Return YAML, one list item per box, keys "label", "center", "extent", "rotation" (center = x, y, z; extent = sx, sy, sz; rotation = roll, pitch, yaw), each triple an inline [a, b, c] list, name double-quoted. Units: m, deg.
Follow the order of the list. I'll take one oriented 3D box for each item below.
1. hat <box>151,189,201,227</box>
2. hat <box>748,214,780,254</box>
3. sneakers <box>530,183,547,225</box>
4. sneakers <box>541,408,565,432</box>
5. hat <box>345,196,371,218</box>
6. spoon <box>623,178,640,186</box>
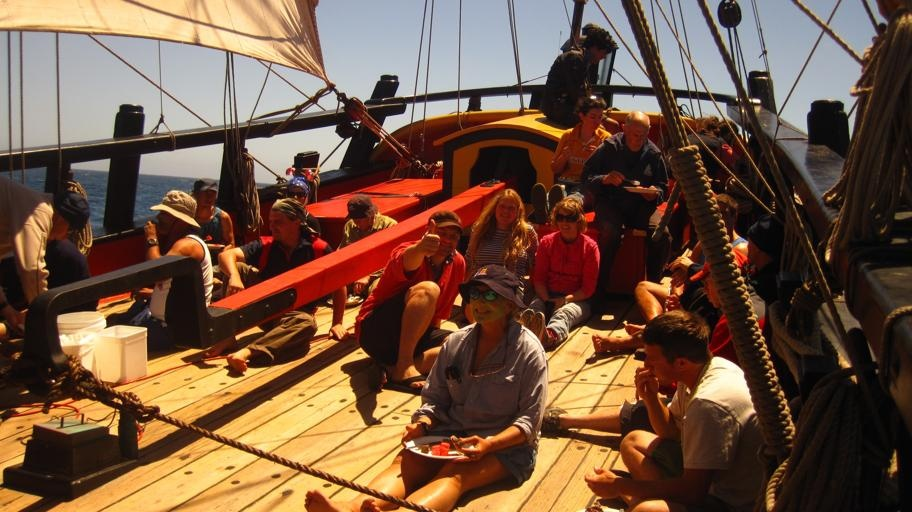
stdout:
- label: "hat"
  center: [-2.795, -0.437, 6.032]
  extent: [0.440, 0.214, 0.429]
  rotation: [20, -11, 1]
- label: "hat"
  center: [1.926, -0.135, 3.712]
  extent: [0.174, 0.183, 0.230]
  rotation: [-10, 32, 29]
- label: "sneakers"
  center: [0.966, -0.605, 6.765]
  extent: [0.183, 0.508, 0.218]
  rotation: [6, 22, 16]
- label: "sneakers"
  center: [0.629, 1.070, 3.812]
  extent: [0.102, 0.154, 0.065]
  rotation: [7, -2, 11]
- label: "hat"
  center: [-0.995, -0.502, 6.231]
  extent: [0.233, 0.245, 0.191]
  rotation: [20, 5, 23]
- label: "spoon"
  center: [1.799, -0.757, 6.004]
  extent: [0.066, 0.071, 0.232]
  rotation: [3, 6, -25]
